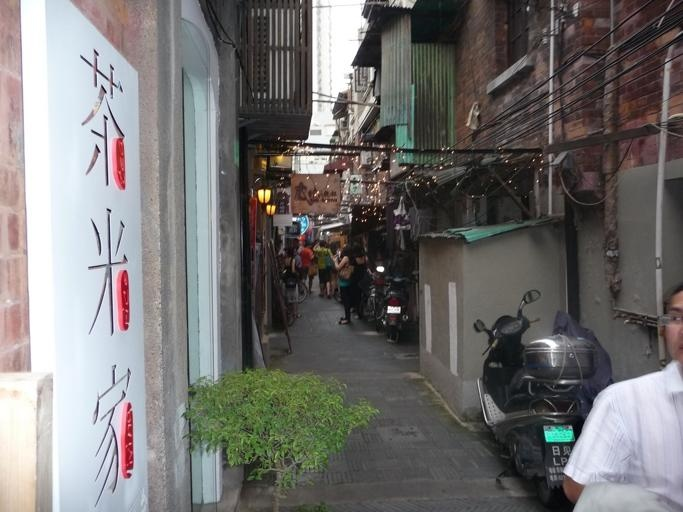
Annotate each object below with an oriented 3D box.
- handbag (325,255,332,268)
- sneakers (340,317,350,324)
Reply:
[{"bbox_3d":[-0.392,0.210,22.108,0.234,0.543,0.345,-2,15,-3],"label":"handbag"},{"bbox_3d":[0.102,1.497,16.056,0.269,0.122,0.493,-1,5,-1],"label":"sneakers"}]
